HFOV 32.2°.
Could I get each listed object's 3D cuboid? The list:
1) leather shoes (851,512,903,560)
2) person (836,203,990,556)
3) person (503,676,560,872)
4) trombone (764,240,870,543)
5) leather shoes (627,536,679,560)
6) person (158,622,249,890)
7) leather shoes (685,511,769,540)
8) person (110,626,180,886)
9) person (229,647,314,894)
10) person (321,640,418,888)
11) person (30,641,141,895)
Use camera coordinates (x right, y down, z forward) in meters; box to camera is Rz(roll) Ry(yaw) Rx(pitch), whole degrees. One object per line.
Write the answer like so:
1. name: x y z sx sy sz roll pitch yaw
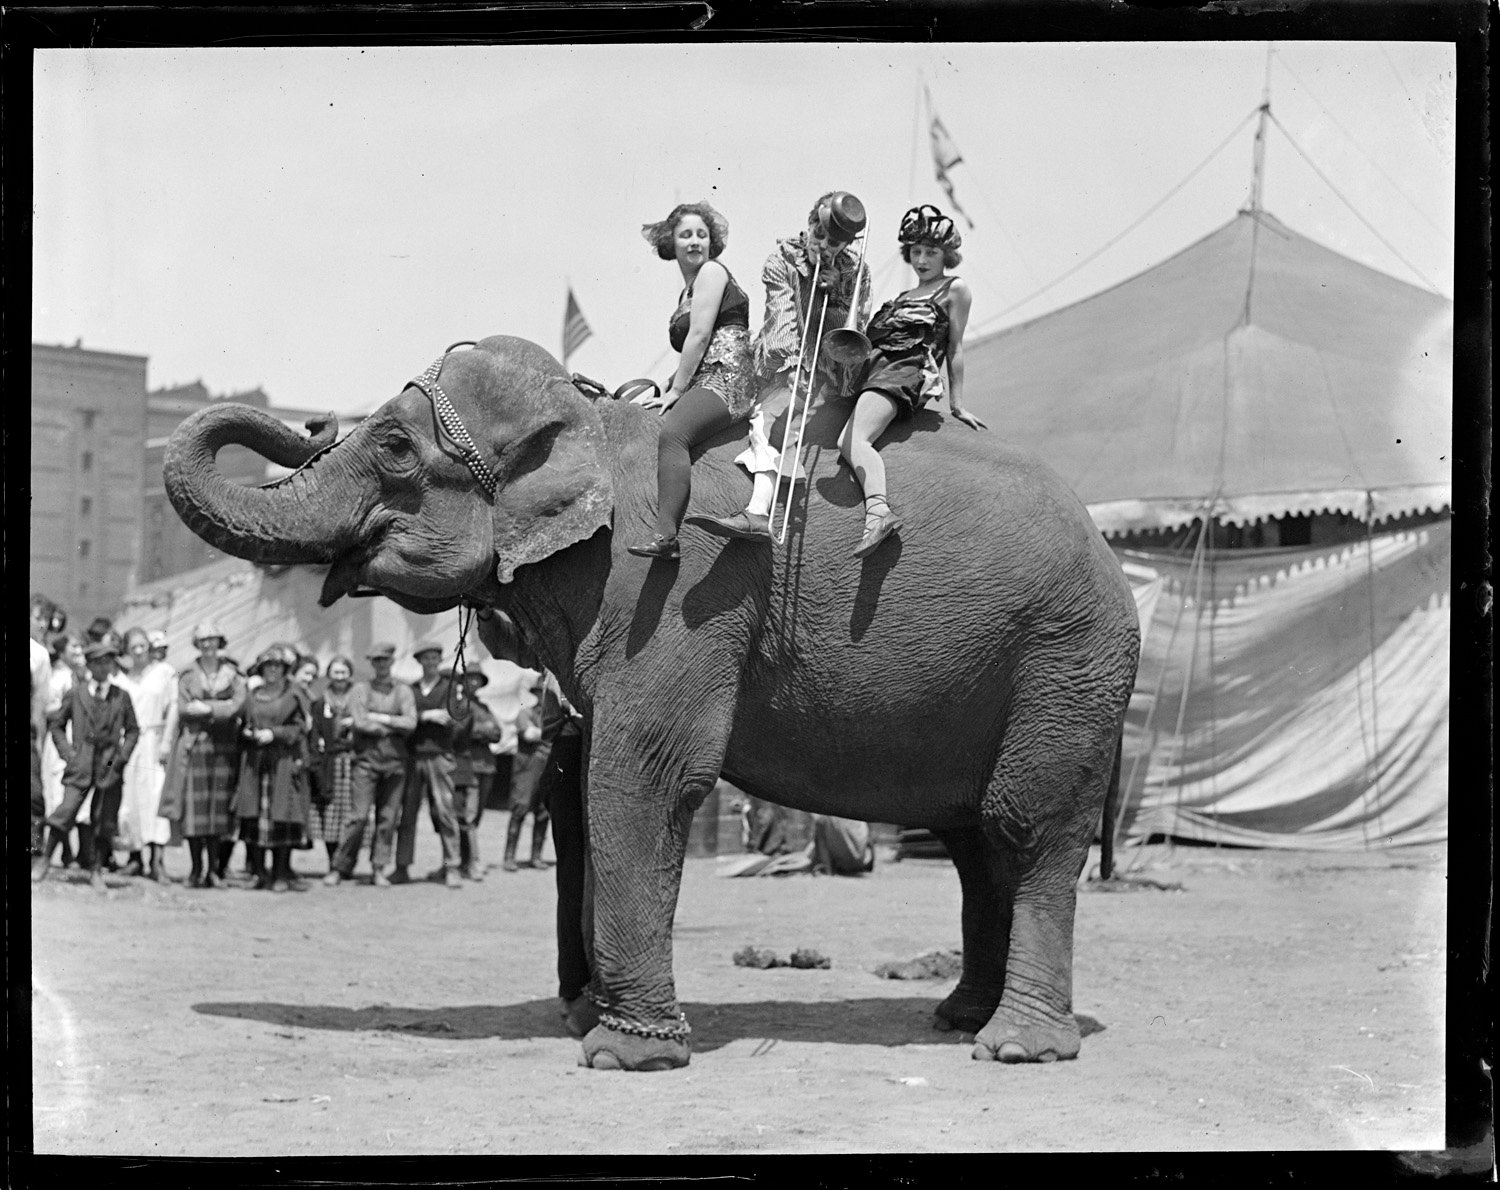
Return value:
1. leather shoes: 0.610 -0.301 12.912 0.235 0.199 0.200 3 -9 2
2. person: 0.776 -1.102 13.361 0.833 1.764 0.604 8 -5 14
3. person: -1.782 1.466 21.767 0.365 1.532 0.425 -10 -19 44
4. trombone: 0.365 -1.247 13.343 0.575 1.843 0.560 -5 4 -12
5. leather shoes: -0.485 -0.240 12.872 0.241 0.110 0.198 4 -9 -7
6. person: -3.928 1.174 18.878 0.501 2.073 0.524 -4 6 -31
7. leather shoes: -0.129 -0.349 12.930 0.401 0.135 0.131 9 -26 14
8. person: -4.446 1.220 19.334 0.418 1.963 0.421 1 2 26
9. person: -3.492 1.318 19.026 0.595 1.558 0.641 0 0 -11
10. person: -2.893 1.280 19.687 0.599 1.717 0.743 0 0 -44
11. person: -4.717 1.115 18.712 1.142 2.063 0.482 2 -5 -21
